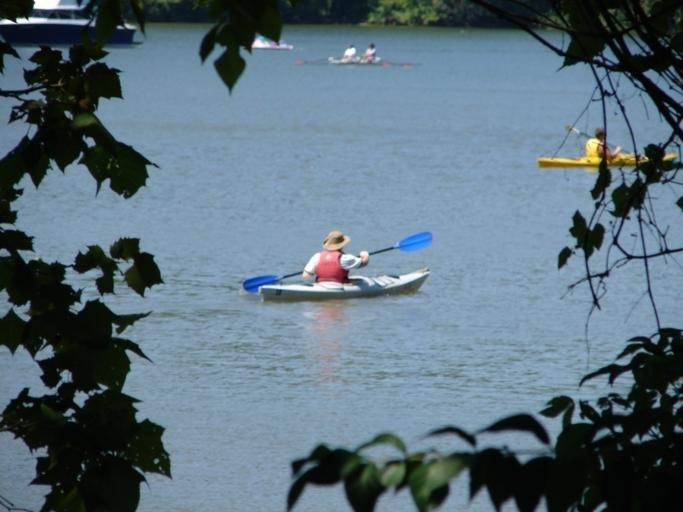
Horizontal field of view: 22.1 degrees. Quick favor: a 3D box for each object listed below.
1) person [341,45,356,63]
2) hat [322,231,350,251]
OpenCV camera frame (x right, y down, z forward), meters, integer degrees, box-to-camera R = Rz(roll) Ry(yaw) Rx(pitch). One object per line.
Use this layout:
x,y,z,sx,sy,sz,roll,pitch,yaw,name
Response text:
0.286,-8.415,72.988,0.393,0.277,1.528,10,-11,-5,person
-0.106,-0.324,33.019,0.448,0.460,0.566,0,17,-1,hat
